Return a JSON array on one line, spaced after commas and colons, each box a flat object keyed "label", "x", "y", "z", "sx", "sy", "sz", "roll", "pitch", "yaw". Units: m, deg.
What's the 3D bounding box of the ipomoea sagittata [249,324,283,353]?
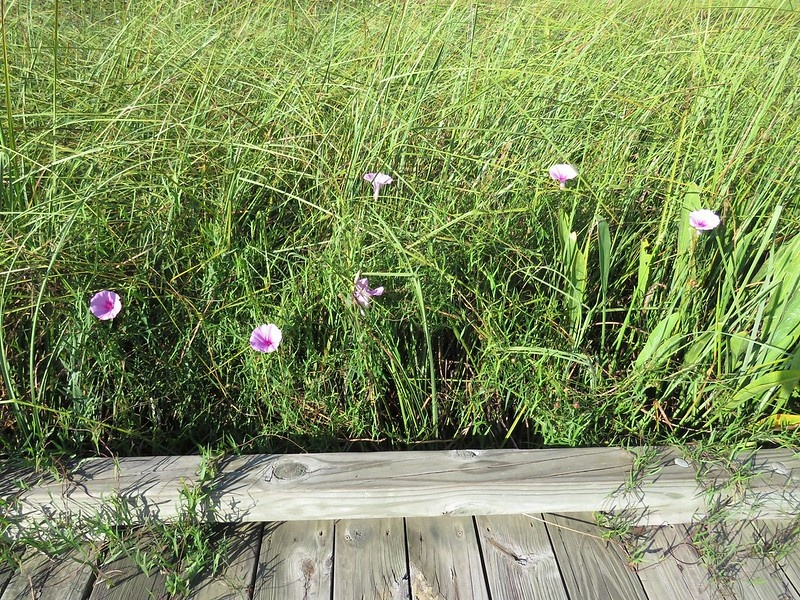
[{"label": "ipomoea sagittata", "x": -0.357, "y": 0.109, "z": 1.680, "sx": 0.077, "sy": 0.070, "sz": 0.077, "roll": -2, "pitch": 40, "yaw": -10}]

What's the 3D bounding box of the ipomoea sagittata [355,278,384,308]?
[{"label": "ipomoea sagittata", "x": -0.083, "y": -0.033, "z": 1.715, "sx": 0.062, "sy": 0.042, "sz": 0.089, "roll": 33, "pitch": 62, "yaw": -23}]

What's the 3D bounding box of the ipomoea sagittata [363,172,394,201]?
[{"label": "ipomoea sagittata", "x": -0.065, "y": -0.352, "z": 1.847, "sx": 0.075, "sy": 0.105, "sz": 0.090, "roll": 2, "pitch": 25, "yaw": 6}]
